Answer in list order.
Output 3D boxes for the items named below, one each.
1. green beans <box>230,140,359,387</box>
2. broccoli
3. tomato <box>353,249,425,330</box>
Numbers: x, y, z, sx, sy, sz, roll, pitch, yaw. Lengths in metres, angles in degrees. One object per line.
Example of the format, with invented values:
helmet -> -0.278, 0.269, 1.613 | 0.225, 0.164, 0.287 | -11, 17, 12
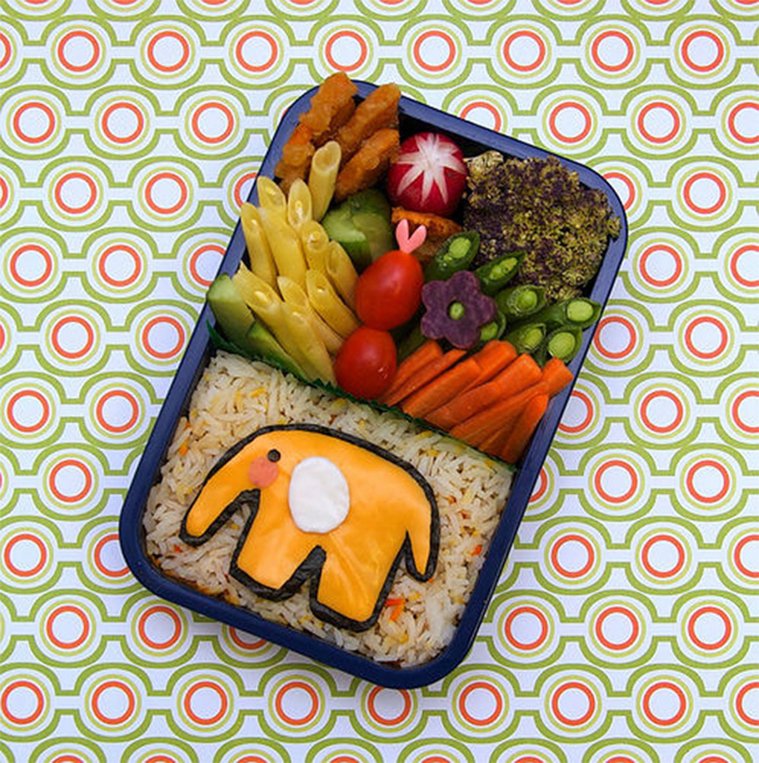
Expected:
green beans -> -0.176, -0.213, 2.000 | 0.240, 0.429, 0.151 | -34, -5, -5
broccoli -> 0.348, -0.365, 2.047 | 0.292, 0.326, 0.245 | -7, 34, -7
tomato -> 0.019, -0.191, 1.953 | 0.155, 0.137, 0.080 | -26, -5, -4
